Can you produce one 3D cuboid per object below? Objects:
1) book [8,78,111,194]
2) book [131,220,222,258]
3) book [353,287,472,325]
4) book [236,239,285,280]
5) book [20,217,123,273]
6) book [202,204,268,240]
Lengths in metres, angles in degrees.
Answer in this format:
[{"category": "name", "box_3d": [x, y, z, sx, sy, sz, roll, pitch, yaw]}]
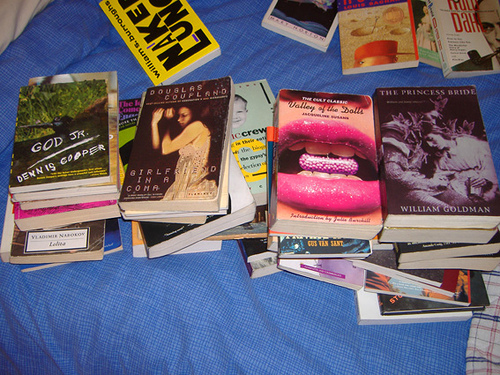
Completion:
[{"category": "book", "box_3d": [-0.589, -0.175, 1.294, 0.295, 0.381, 0.061, -9, -20, 2]}, {"category": "book", "box_3d": [-0.253, 0.169, 1.329, 0.190, 0.041, 0.175, -4, 57, -2]}, {"category": "book", "box_3d": [0.484, 0.394, 1.305, 0.195, 0.036, 0.183, -1, 29, 3]}, {"category": "book", "box_3d": [0.036, 0.245, 1.349, 0.124, 0.028, 0.111, -13, 58, -9]}, {"category": "book", "box_3d": [-0.488, 0.143, 1.260, 0.240, 0.042, 0.208, -7, 20, 1]}, {"category": "book", "box_3d": [-0.030, 0.122, 1.332, 0.142, 0.034, 0.148, -11, 20, 12]}]
